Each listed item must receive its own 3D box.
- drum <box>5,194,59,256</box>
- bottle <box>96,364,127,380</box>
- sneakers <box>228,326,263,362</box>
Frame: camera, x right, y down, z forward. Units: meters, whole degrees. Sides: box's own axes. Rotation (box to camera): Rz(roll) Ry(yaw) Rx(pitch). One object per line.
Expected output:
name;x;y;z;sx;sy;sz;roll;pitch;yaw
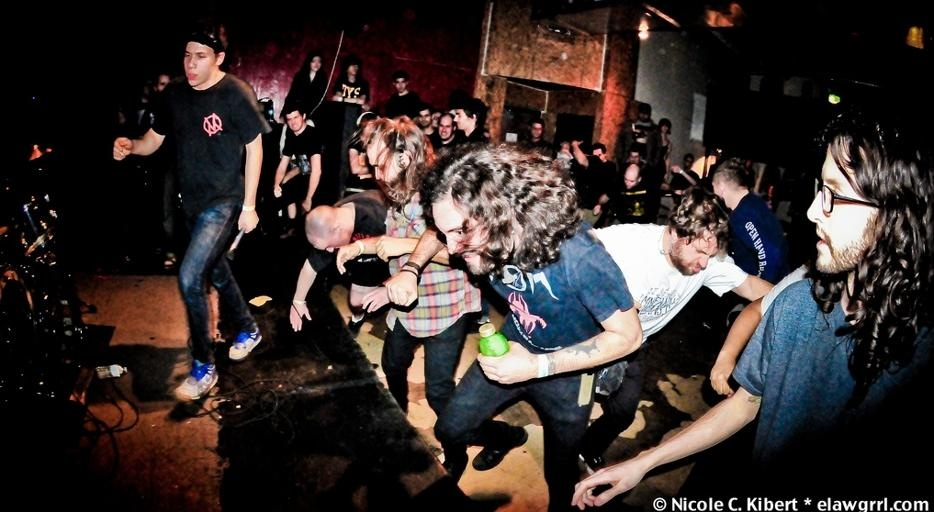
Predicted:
drum;-4.119;-0.289;5.505;0.538;0.461;0.539;1;-12;-26
bottle;-3.716;1.209;6.004;0.237;0.048;0.130;1;18;-3
sneakers;-2.439;0.980;6.319;0.218;0.188;0.474;13;31;18
